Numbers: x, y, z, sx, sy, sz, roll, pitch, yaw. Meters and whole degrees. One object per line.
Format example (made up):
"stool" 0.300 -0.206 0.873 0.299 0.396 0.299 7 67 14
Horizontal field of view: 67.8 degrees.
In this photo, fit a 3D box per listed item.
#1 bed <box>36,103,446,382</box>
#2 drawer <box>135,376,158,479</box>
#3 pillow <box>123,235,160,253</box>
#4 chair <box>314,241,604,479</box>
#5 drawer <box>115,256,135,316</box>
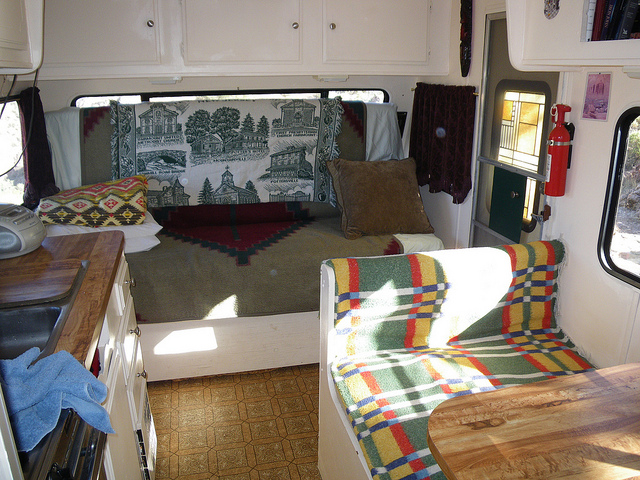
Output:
"bed" -0.442 -0.017 3.246 2.678 1.483 1.168 -4 25 -21
"drawer" -0.778 0.842 2.151 0.136 0.408 0.232 -1 16 -13
"pillow" -1.084 0.018 2.882 0.141 0.043 0.148 -4 10 -8
"chair" 0.528 0.445 1.815 0.865 0.703 0.614 -4 22 -10
"drawer" -0.876 0.211 2.130 0.072 0.168 0.241 -3 27 -7
